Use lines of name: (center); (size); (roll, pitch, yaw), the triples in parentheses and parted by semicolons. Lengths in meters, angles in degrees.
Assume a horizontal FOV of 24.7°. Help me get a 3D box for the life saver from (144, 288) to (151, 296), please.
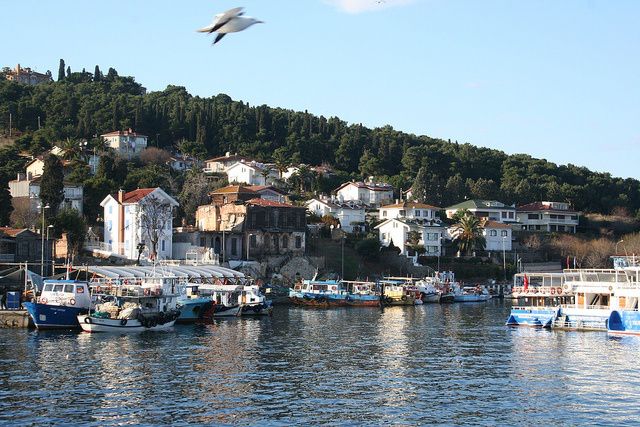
life saver: (-19.622, 8.827, 164.599); (0.937, 0.952, 0.698); (1, -8, -6)

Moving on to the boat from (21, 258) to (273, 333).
boat: (-20.692, 9.612, 173.460); (32.815, 8.944, 16.197); (3, -8, -43)

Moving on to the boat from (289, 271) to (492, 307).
boat: (8.882, 9.861, 191.852); (27.440, 4.659, 5.292); (2, -7, -33)
